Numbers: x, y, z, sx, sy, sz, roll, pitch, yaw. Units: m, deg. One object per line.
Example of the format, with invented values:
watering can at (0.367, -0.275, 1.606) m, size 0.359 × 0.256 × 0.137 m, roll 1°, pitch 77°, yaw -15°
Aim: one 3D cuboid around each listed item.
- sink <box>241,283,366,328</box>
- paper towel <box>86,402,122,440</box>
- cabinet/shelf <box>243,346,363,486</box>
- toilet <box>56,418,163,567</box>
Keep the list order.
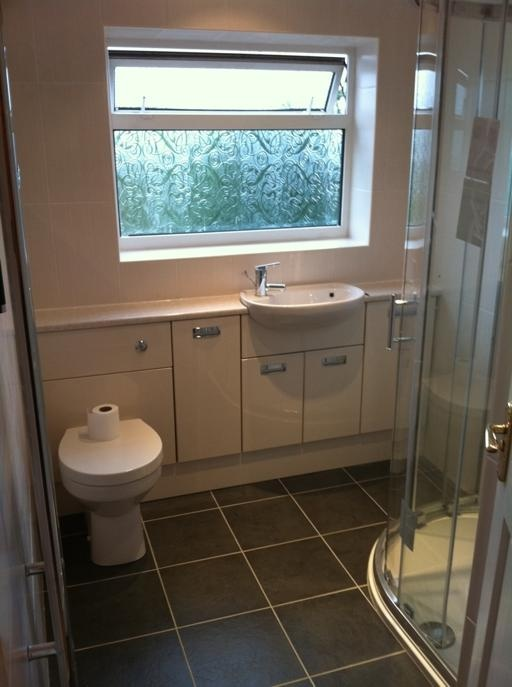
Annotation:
sink at (0.225, -0.174, 2.440) m, size 0.610 × 0.145 × 0.408 m, roll -6°, pitch 14°, yaw -20°
paper towel at (-0.612, 0.276, 2.075) m, size 0.097 × 0.138 × 0.113 m, roll -2°, pitch 22°, yaw -21°
cabinet/shelf at (0.209, 0.163, 2.704) m, size 0.585 × 0.630 × 0.426 m, roll -5°, pitch 34°, yaw -6°
toilet at (-0.538, 0.609, 2.036) m, size 0.265 × 0.459 × 0.374 m, roll -15°, pitch 25°, yaw -40°
